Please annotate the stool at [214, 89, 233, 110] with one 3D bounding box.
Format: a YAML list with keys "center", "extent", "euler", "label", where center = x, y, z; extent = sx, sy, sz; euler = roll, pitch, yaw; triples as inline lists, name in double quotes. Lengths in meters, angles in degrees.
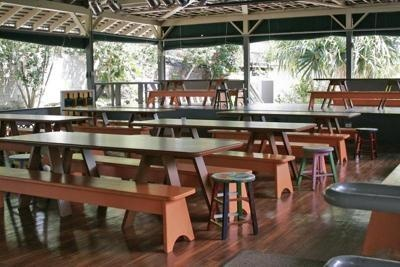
- center: [0.817, -1.208, 10.089]
  extent: [0.749, 0.808, 0.708]
  euler: [-1, 10, 10]
  label: "stool"
